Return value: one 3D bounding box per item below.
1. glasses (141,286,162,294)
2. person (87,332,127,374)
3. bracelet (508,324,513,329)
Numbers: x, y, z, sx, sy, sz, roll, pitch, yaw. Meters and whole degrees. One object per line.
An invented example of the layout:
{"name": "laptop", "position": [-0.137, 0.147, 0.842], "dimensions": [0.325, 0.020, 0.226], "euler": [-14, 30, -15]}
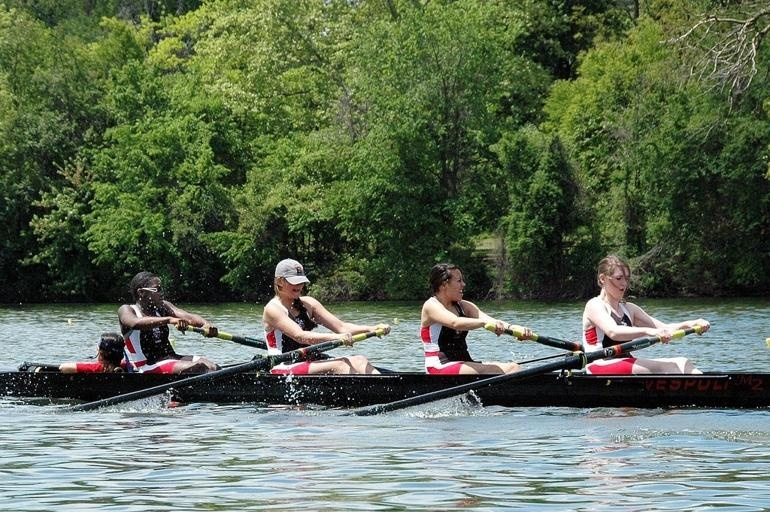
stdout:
{"name": "glasses", "position": [-4.697, 0.684, 22.604], "dimensions": [0.411, 0.139, 0.143], "euler": [-7, 12, -31]}
{"name": "person", "position": [-5.629, 2.038, 23.283], "dimensions": [0.703, 0.854, 1.594], "euler": [4, 10, -13]}
{"name": "bracelet", "position": [2.452, 1.369, 21.873], "dimensions": [0.095, 0.040, 0.143], "euler": [-1, 10, 0]}
